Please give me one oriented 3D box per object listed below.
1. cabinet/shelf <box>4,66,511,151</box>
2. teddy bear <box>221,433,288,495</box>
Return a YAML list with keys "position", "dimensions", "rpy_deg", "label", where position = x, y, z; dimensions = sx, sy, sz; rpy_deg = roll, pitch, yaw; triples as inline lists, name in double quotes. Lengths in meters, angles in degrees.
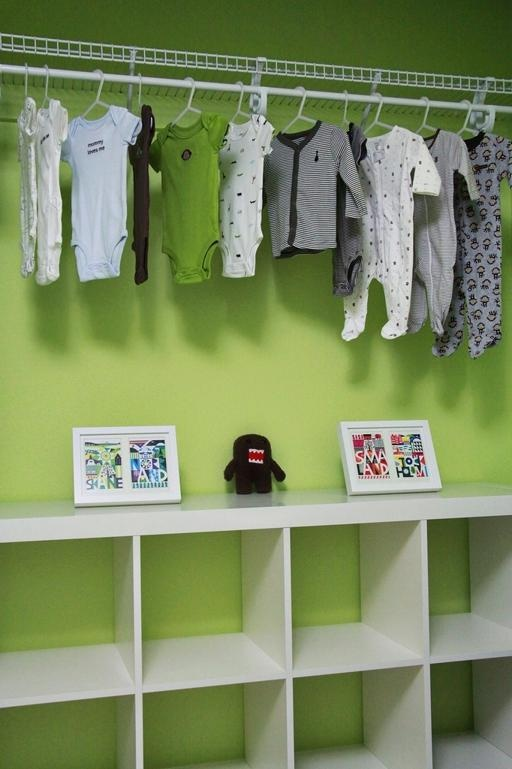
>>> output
- position: [0.038, -0.816, 2.079]
  dimensions: [1.436, 0.204, 0.387]
  rpy_deg: [-8, 21, -16]
  label: "cabinet/shelf"
- position: [-0.004, 0.215, 2.102]
  dimensions: [0.159, 0.226, 0.111]
  rpy_deg: [5, 26, 10]
  label: "teddy bear"
